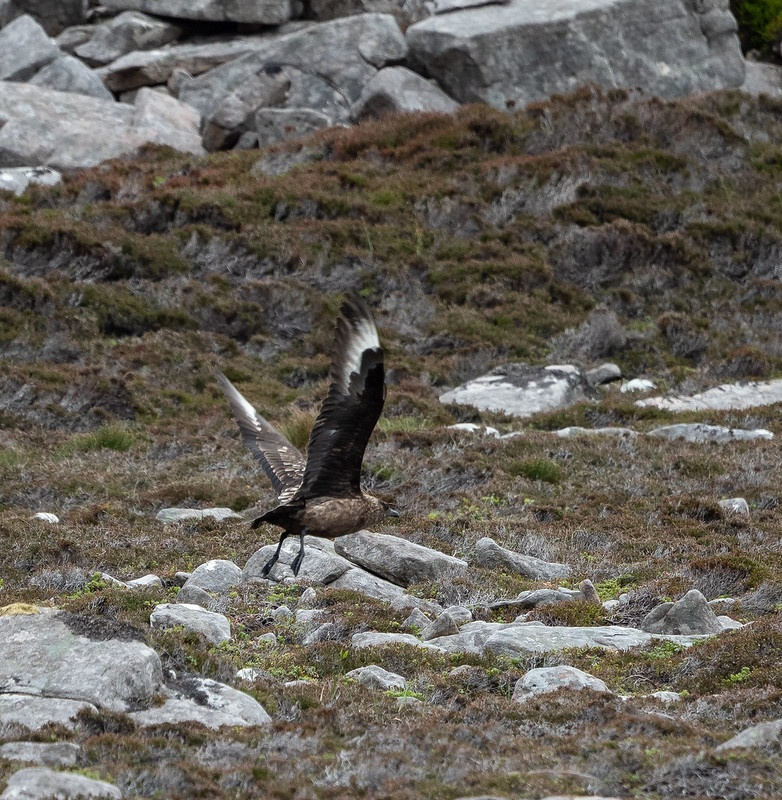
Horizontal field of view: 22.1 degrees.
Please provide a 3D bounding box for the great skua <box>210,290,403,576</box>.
[{"bbox_3d":[-1.443,0.648,32.066,2.473,2.795,3.655,8,-29,-27],"label":"great skua"}]
